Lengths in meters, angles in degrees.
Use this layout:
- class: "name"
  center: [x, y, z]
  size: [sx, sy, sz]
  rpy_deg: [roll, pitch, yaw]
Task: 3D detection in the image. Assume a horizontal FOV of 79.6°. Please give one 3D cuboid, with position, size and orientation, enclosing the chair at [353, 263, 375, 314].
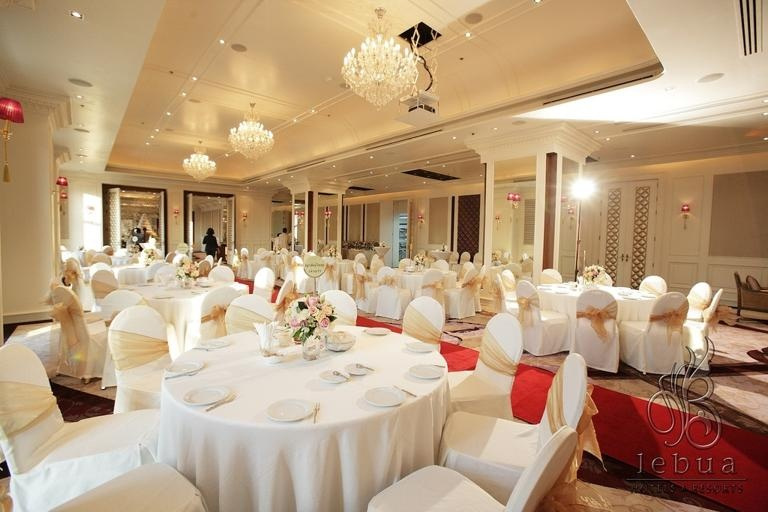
- class: "chair"
  center: [-0.380, 0.654, 9.536]
  size: [0.378, 1.009, 0.581]
  rpy_deg: [0, 2, -13]

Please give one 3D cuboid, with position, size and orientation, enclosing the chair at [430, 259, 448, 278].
- class: "chair"
  center: [1.268, 0.268, 10.251]
  size: [0.355, 0.538, 0.436]
  rpy_deg: [-1, -8, 19]

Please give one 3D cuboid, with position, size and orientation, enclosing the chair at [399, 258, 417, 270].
- class: "chair"
  center: [0.542, 0.200, 10.704]
  size: [0.285, 0.332, 0.283]
  rpy_deg: [1, -1, -44]

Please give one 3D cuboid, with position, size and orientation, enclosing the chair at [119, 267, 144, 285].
- class: "chair"
  center: [-4.763, 0.381, 8.750]
  size: [0.432, 0.297, 0.428]
  rpy_deg: [-2, 12, -35]

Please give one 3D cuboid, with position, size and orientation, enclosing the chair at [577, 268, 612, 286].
- class: "chair"
  center: [3.670, 0.378, 8.012]
  size: [0.453, 0.495, 0.474]
  rpy_deg: [-2, -2, 20]

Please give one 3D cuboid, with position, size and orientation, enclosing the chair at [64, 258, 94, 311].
- class: "chair"
  center: [-5.193, 0.515, 7.870]
  size: [0.533, 0.726, 1.303]
  rpy_deg: [-14, -1, -29]

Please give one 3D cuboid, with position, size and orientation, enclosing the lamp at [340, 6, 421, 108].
- class: "lamp"
  center: [-0.035, -3.021, 7.403]
  size: [1.219, 2.080, 1.255]
  rpy_deg: [-1, 14, -7]

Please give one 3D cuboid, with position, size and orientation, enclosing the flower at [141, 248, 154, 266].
- class: "flower"
  center: [-4.789, 0.017, 9.334]
  size: [0.127, 0.312, 0.308]
  rpy_deg: [3, -19, 3]

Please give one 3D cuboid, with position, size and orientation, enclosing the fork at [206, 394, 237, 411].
- class: "fork"
  center: [-1.488, 1.354, 4.229]
  size: [0.213, 0.036, 0.032]
  rpy_deg: [-24, -28, -36]

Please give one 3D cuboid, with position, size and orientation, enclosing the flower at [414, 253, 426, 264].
- class: "flower"
  center: [0.772, 0.055, 9.958]
  size: [0.254, 0.092, 0.262]
  rpy_deg: [3, 6, -7]

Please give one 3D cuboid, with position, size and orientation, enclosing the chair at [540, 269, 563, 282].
- class: "chair"
  center: [3.182, 0.382, 8.724]
  size: [0.254, 0.348, 0.288]
  rpy_deg: [-2, -5, 11]

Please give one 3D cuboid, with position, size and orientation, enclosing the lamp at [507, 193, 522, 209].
- class: "lamp"
  center: [3.325, -1.412, 11.813]
  size: [0.207, 0.401, 0.398]
  rpy_deg: [-4, -2, 39]

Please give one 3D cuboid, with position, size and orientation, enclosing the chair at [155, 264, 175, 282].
- class: "chair"
  center: [-3.622, 0.296, 7.674]
  size: [0.242, 0.323, 0.260]
  rpy_deg: [3, -7, -7]

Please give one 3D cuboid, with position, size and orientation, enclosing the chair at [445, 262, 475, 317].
- class: "chair"
  center: [1.550, 0.718, 9.172]
  size: [0.632, 1.000, 0.496]
  rpy_deg: [0, 2, 3]

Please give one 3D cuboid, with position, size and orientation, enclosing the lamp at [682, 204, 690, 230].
- class: "lamp"
  center: [6.873, -0.896, 10.517]
  size: [0.161, 0.580, 0.116]
  rpy_deg: [2, 3, 33]

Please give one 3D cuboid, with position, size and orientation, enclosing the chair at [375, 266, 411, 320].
- class: "chair"
  center: [0.177, 0.746, 8.823]
  size: [0.716, 1.161, 0.706]
  rpy_deg: [7, 14, 29]

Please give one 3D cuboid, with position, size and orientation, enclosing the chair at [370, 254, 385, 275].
- class: "chair"
  center: [-0.163, 0.208, 11.337]
  size: [0.357, 0.519, 0.503]
  rpy_deg: [2, -5, -2]

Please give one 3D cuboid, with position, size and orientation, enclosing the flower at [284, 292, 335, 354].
- class: "flower"
  center: [-0.763, 0.668, 4.866]
  size: [0.475, 0.505, 0.467]
  rpy_deg: [-10, 12, -37]

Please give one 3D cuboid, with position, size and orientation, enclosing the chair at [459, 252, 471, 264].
- class: "chair"
  center: [2.371, 0.060, 13.379]
  size: [0.277, 0.522, 0.172]
  rpy_deg: [5, 1, 20]

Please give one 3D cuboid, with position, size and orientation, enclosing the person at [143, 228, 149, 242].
- class: "person"
  center: [-9.732, -0.905, 18.930]
  size: [0.245, 0.509, 0.732]
  rpy_deg: [-1, 2, -28]

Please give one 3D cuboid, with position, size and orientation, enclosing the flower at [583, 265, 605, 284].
- class: "flower"
  center: [3.572, 0.318, 7.874]
  size: [0.293, 0.312, 0.206]
  rpy_deg: [1, 2, 25]

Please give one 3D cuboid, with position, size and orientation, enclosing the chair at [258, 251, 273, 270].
- class: "chair"
  center: [-3.412, 0.085, 13.302]
  size: [0.349, 0.476, 0.911]
  rpy_deg: [0, 2, -22]
